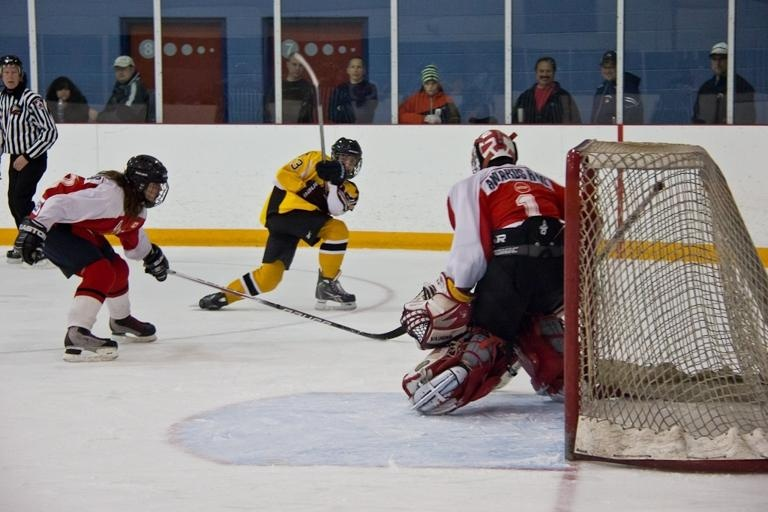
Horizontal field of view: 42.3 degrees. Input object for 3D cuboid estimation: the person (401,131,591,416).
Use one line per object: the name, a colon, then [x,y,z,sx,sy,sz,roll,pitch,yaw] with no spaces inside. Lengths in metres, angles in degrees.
person: [0.464,0.076,4.628,0.794,1.227,0.618,-2,14,-4]

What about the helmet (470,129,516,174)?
helmet: [0.541,-0.514,4.887,0.221,0.247,0.268,-6,17,-14]

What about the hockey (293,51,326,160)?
hockey: [-0.499,-1.029,6.732,0.199,0.727,0.094,4,20,23]

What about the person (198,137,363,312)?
person: [-0.747,-0.100,6.875,1.397,1.443,0.780,2,-12,-5]

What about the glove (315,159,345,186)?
glove: [-0.329,-0.526,6.276,0.183,0.157,0.096,-1,14,-2]

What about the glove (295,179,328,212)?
glove: [-0.470,-0.392,6.404,0.186,0.126,0.099,14,-19,-16]

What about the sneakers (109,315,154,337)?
sneakers: [-1.398,0.399,5.601,0.261,0.117,0.107,0,1,-7]

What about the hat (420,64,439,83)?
hat: [0.402,-1.593,8.709,0.168,0.137,0.136,-9,-8,19]

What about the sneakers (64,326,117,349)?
sneakers: [-1.533,0.436,5.218,0.298,0.115,0.098,0,0,-8]

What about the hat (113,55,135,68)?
hat: [-2.321,-1.747,8.903,0.185,0.104,0.113,-4,14,-14]

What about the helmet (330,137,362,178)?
helmet: [-0.229,-0.656,6.453,0.232,0.219,0.180,22,11,3]

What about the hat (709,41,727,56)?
hat: [2.757,-1.719,8.218,0.125,0.070,0.081,2,2,6]

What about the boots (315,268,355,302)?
boots: [-0.295,0.222,6.496,0.324,0.195,0.108,6,12,32]

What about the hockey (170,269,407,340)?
hockey: [-0.612,0.322,6.304,1.452,0.193,0.056,11,-28,23]

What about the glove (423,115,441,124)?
glove: [0.426,-1.193,8.661,0.090,0.053,0.115,2,5,-5]

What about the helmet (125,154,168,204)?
helmet: [-1.269,-0.406,5.284,0.254,0.236,0.183,15,2,-5]

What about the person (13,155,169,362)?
person: [-1.590,-0.056,5.860,1.117,1.436,1.105,2,7,-11]
